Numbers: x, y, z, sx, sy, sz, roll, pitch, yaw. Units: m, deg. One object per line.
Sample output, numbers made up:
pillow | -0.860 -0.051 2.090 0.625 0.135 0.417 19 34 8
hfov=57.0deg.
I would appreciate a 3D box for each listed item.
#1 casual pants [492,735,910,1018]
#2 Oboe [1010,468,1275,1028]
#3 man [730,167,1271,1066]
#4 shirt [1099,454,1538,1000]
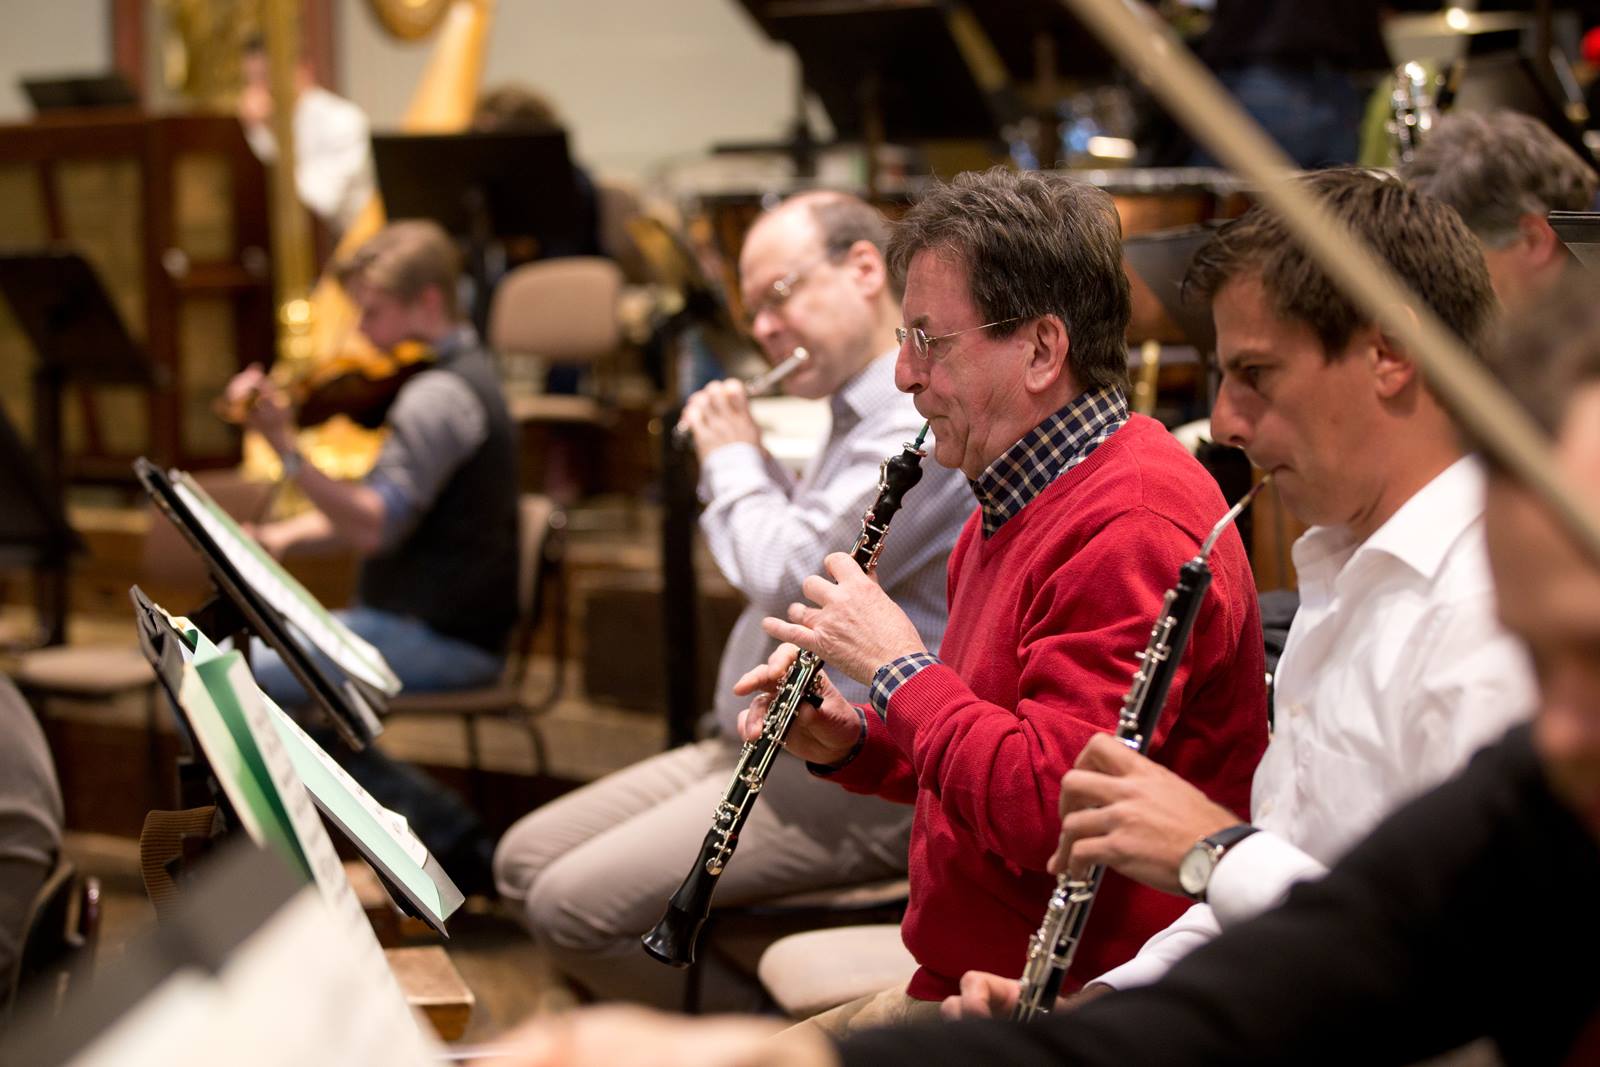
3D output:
casual pants | -0.171 0.671 3.021 0.717 0.244 0.699 -16 15 -25
Oboe | 0.417 0.272 1.817 0.086 0.730 0.085 21 -10 8
man | 0.292 0.205 3.063 1.131 2.198 1.224 3 -6 -4
shirt | 0.610 0.130 1.700 0.221 0.797 0.291 27 -26 -18
